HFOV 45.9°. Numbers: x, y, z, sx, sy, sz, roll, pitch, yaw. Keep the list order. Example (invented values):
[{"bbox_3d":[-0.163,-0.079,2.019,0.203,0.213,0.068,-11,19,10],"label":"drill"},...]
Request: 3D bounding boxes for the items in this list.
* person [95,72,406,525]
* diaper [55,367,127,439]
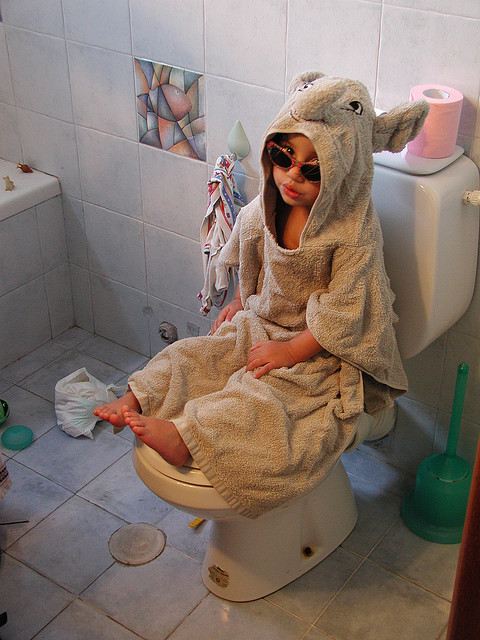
[{"bbox_3d":[0.038,-0.028,1.016,0.424,0.740,0.465,21,35,30],"label":"person"},{"bbox_3d":[-0.440,0.281,1.787,0.291,0.134,0.317,5,11,-25],"label":"diaper"}]
